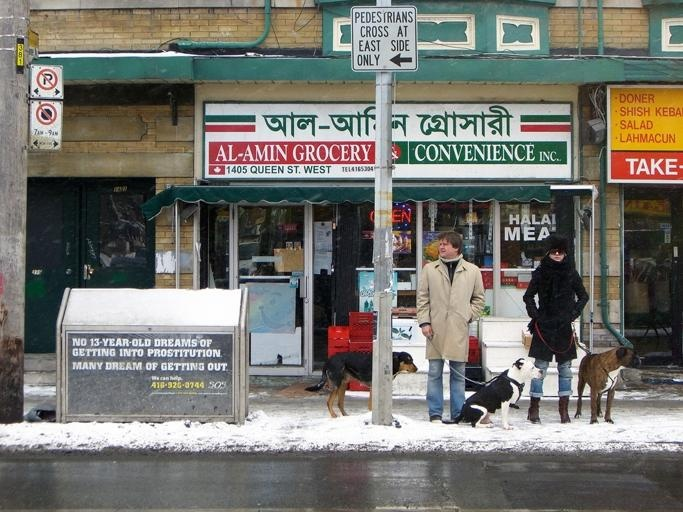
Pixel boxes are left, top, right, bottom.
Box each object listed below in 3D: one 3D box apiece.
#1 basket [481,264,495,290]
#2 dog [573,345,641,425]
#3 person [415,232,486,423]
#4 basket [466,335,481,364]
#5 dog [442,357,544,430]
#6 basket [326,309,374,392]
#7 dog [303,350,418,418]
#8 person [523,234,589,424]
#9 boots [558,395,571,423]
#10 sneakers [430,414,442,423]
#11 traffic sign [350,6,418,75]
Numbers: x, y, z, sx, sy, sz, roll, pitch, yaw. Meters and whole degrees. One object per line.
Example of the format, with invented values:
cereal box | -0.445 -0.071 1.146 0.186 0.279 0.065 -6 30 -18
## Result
basket | 2.374 0.329 25.607 0.360 0.359 0.280 0 -3 -1
dog | 3.718 1.833 22.205 0.649 1.105 0.949 -3 0 -25
person | 1.577 1.008 22.295 1.006 2.718 0.686 2 -2 -13
basket | 2.084 1.482 24.386 0.330 0.391 0.554 0 0 2
dog | 2.137 1.946 21.882 1.273 0.965 0.413 -3 0 6
basket | 0.130 1.505 24.613 0.744 1.183 0.668 1 5 -9
dog | 0.262 1.833 22.394 1.518 0.932 0.423 0 -8 15
person | 2.942 0.970 22.266 1.150 2.433 0.971 2 5 13
boots | 3.169 2.185 22.203 0.165 0.386 0.369 -3 0 7
sneakers | 1.320 2.300 21.975 0.161 0.102 0.147 -3 0 0
traffic sign | 0.583 -3.030 21.617 0.943 0.867 0.114 1 1 -5
